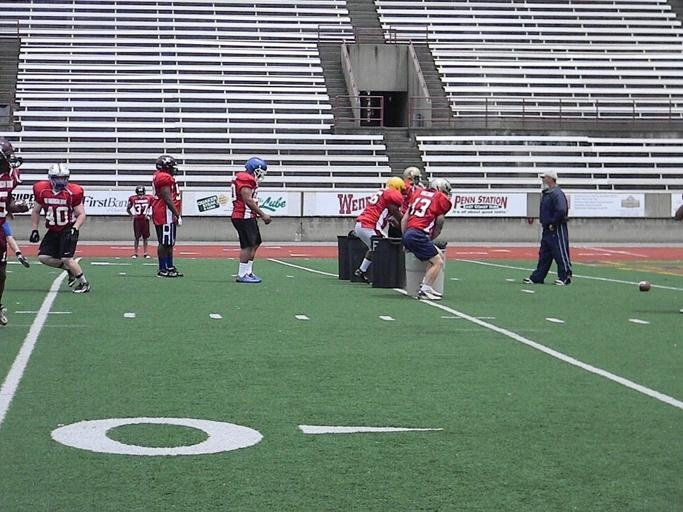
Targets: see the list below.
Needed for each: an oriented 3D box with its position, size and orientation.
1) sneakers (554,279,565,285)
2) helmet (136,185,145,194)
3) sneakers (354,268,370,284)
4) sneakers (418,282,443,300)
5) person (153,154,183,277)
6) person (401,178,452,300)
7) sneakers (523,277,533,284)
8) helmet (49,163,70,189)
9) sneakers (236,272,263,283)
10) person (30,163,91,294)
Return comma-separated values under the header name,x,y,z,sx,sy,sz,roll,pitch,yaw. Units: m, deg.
name,x,y,z,sx,sy,sz,roll,pitch,yaw
sneakers,4.161,0.454,15.359,0.197,0.075,0.503,1,6,12
helmet,-4.957,-1.602,21.689,0.246,0.233,0.275,3,22,-13
sneakers,0.507,0.359,15.188,0.408,0.173,0.135,32,-10,-39
sneakers,1.401,0.515,12.493,0.447,0.263,0.159,-2,13,-8
person,-3.234,-0.742,16.423,0.568,2.276,1.382,-1,6,-10
person,1.422,-0.254,12.748,0.698,1.723,0.858,1,6,5
sneakers,3.642,0.436,15.622,0.154,0.071,0.411,1,5,4
helmet,-4.194,-1.178,12.877,0.355,0.400,0.455,-3,11,-26
sneakers,-1.513,0.381,15.060,0.324,0.112,0.197,2,5,1
person,-4.352,-0.427,13.389,0.856,1.946,1.575,-2,6,-18
